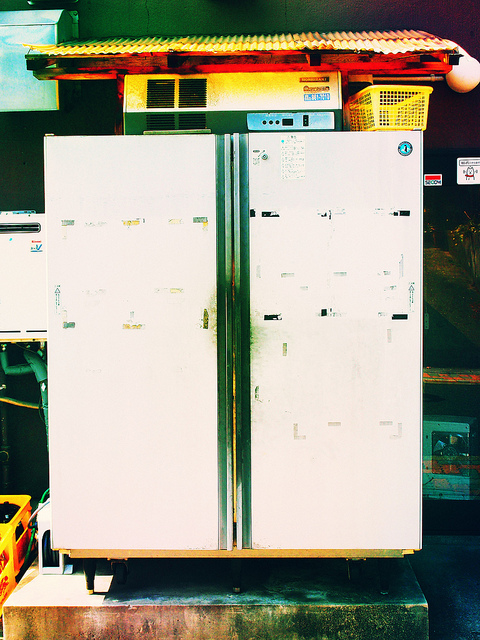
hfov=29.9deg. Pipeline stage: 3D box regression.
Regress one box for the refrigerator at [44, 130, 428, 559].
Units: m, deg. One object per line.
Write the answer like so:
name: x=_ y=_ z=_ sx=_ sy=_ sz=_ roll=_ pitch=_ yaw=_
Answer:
refrigerator: x=0.026 y=0.066 z=4.049 sx=1.485 sy=2.073 sz=0.591 roll=0 pitch=2 yaw=2
